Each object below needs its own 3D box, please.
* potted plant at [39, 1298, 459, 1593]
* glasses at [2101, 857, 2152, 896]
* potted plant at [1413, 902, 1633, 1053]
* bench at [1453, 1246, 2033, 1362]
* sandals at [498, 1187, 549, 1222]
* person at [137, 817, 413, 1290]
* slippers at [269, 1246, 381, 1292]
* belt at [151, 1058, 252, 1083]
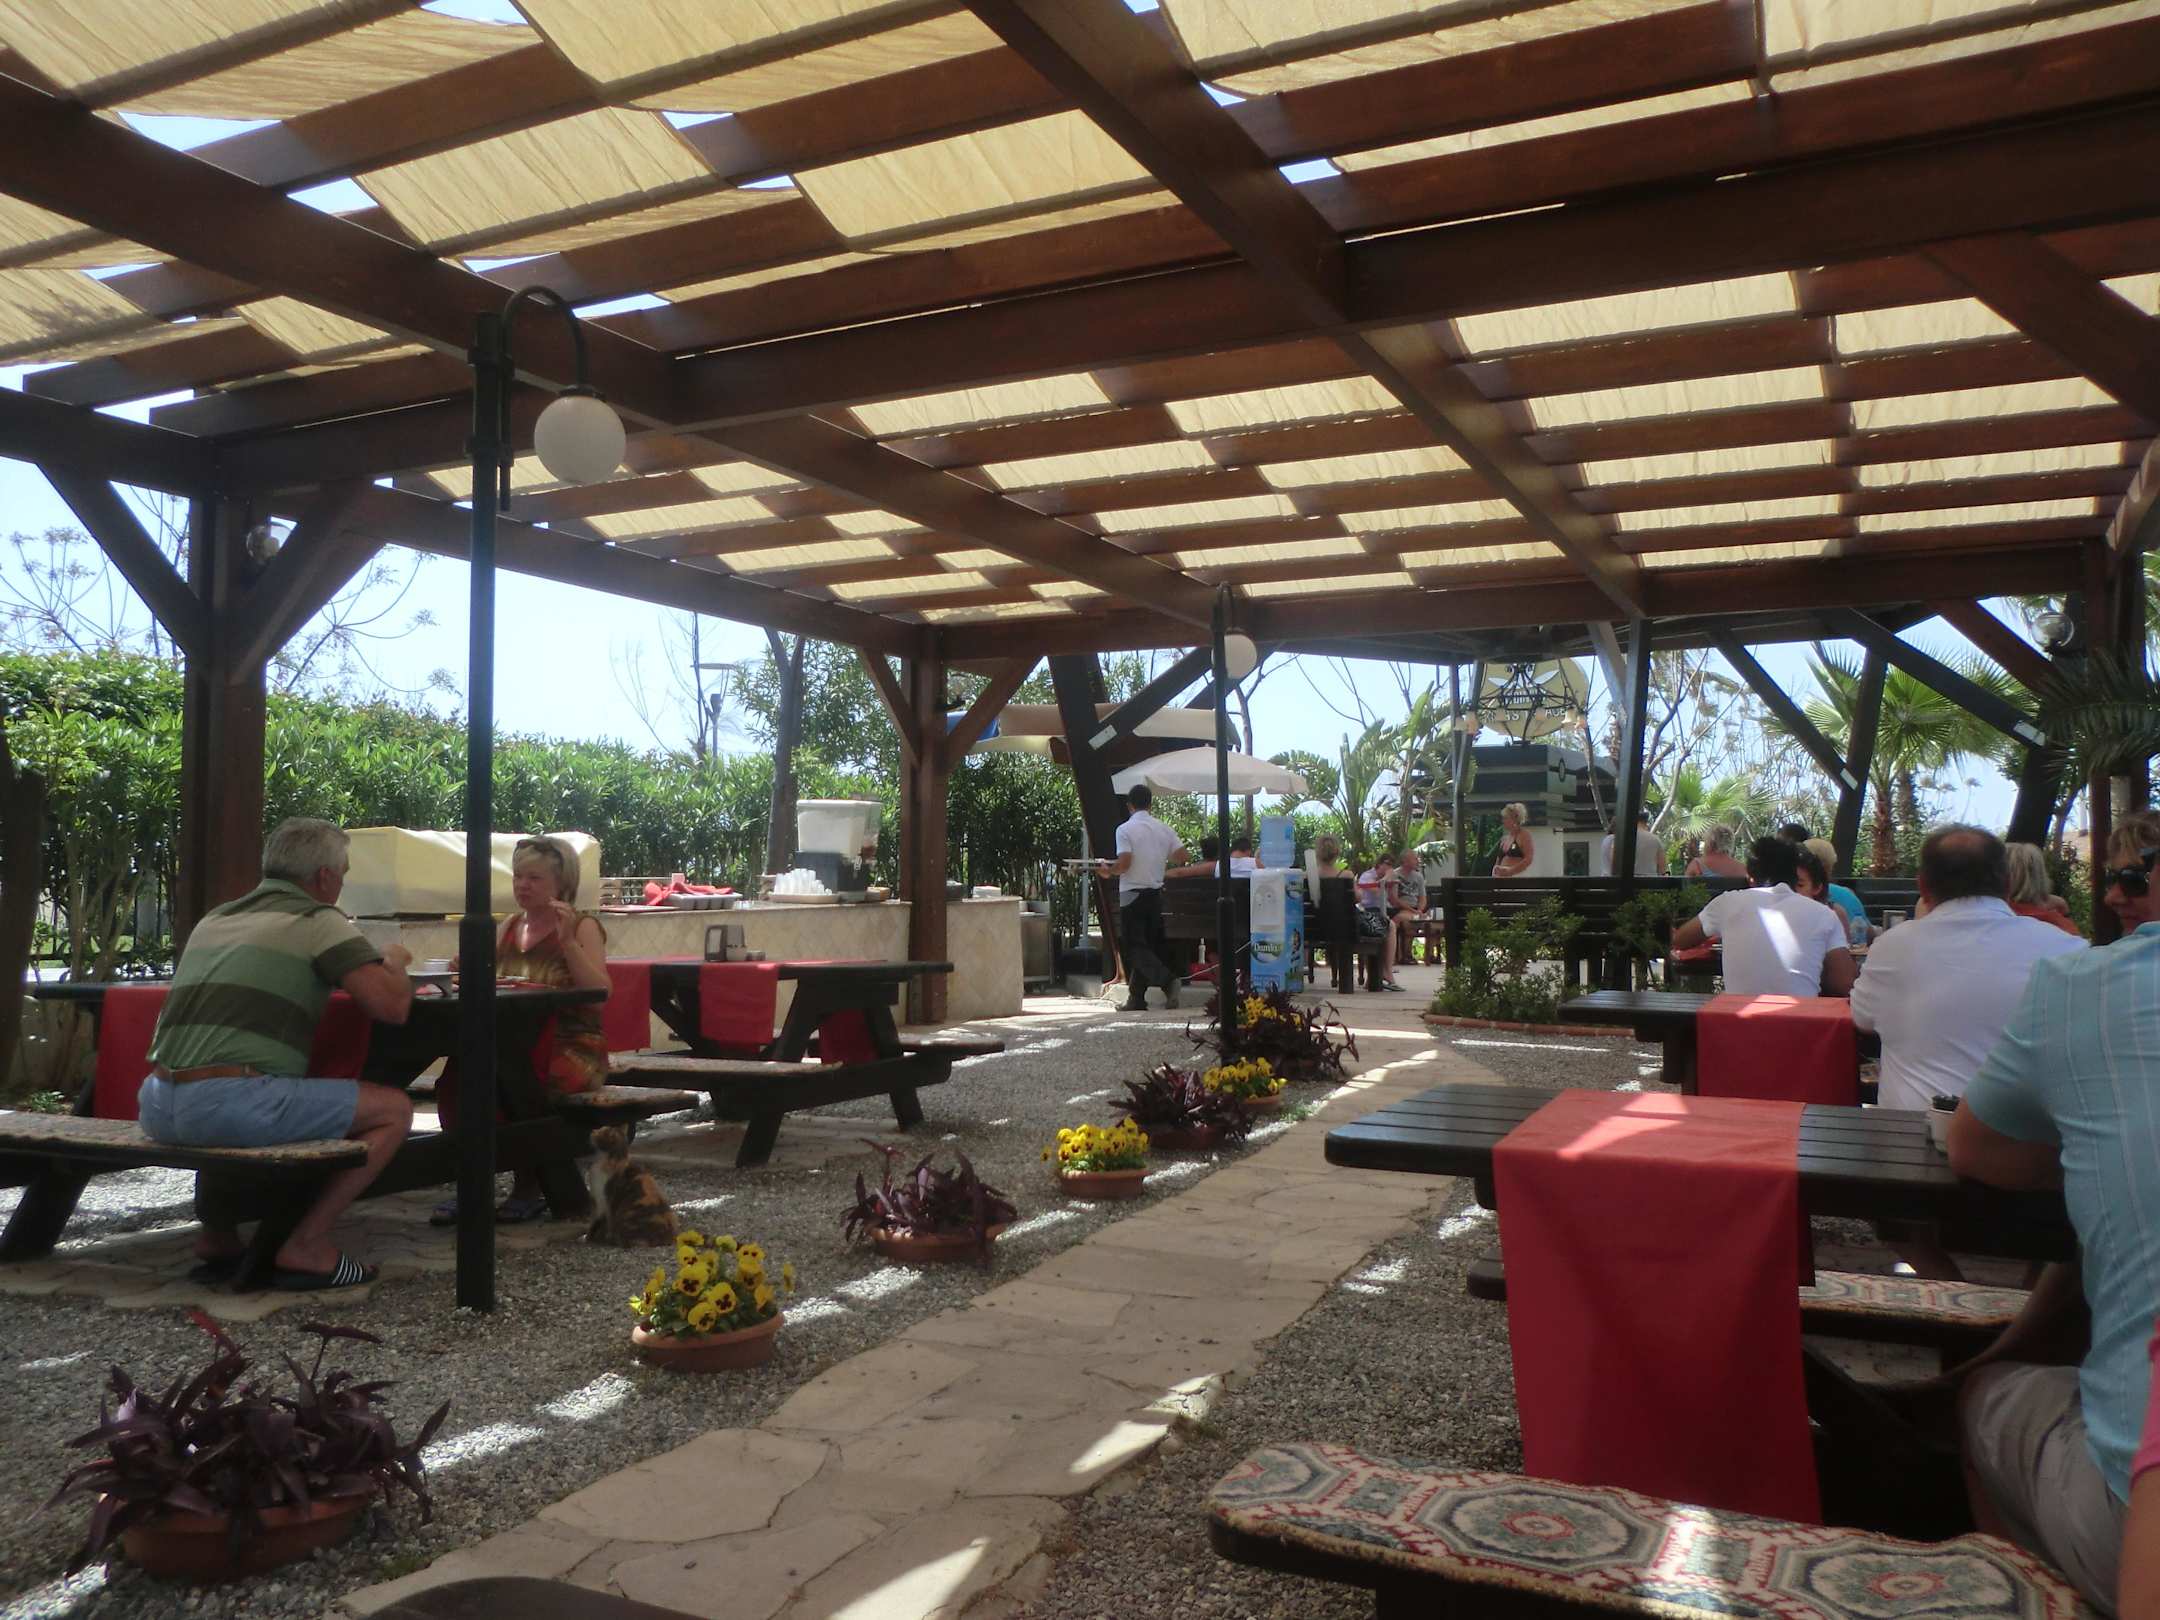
[{"bbox_3d":[-1.875,1.501,3.508,0.493,0.309,0.607,18,-6,46],"label":"potted plant"},{"bbox_3d":[2.074,0.134,2.929,0.051,0.062,0.065,9,13,0],"label":"glasses"},{"bbox_3d":[3.722,1.455,12.825,1.309,1.107,1.562,3,-2,11],"label":"potted plant"},{"bbox_3d":[1.583,1.196,3.560,0.515,0.168,0.818,6,-8,-39],"label":"bench"},{"bbox_3d":[-2.443,1.744,6.504,0.090,0.094,0.250,-4,-17,13],"label":"sandals"},{"bbox_3d":[-2.854,0.864,5.270,0.871,1.665,0.484,2,-2,-17],"label":"person"},{"bbox_3d":[-2.692,1.650,5.317,0.349,0.091,0.118,2,-6,-16],"label":"slippers"},{"bbox_3d":[-3.055,0.914,5.163,0.348,0.067,0.089,1,-2,16],"label":"belt"}]
